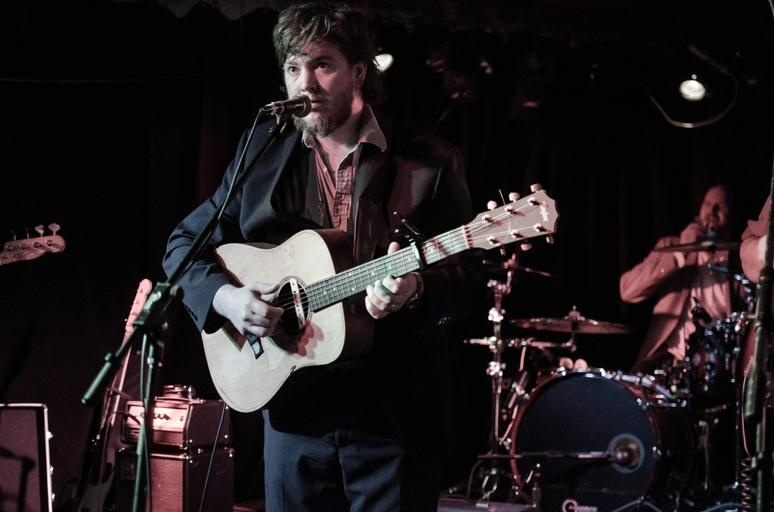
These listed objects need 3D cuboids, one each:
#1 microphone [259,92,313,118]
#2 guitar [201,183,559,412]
[{"bbox_3d":[-0.601,-0.889,4.281,0.245,0.127,0.134,-13,13,-36],"label":"microphone"},{"bbox_3d":[-0.195,0.235,4.248,2.304,1.054,0.363,-20,-13,19],"label":"guitar"}]
